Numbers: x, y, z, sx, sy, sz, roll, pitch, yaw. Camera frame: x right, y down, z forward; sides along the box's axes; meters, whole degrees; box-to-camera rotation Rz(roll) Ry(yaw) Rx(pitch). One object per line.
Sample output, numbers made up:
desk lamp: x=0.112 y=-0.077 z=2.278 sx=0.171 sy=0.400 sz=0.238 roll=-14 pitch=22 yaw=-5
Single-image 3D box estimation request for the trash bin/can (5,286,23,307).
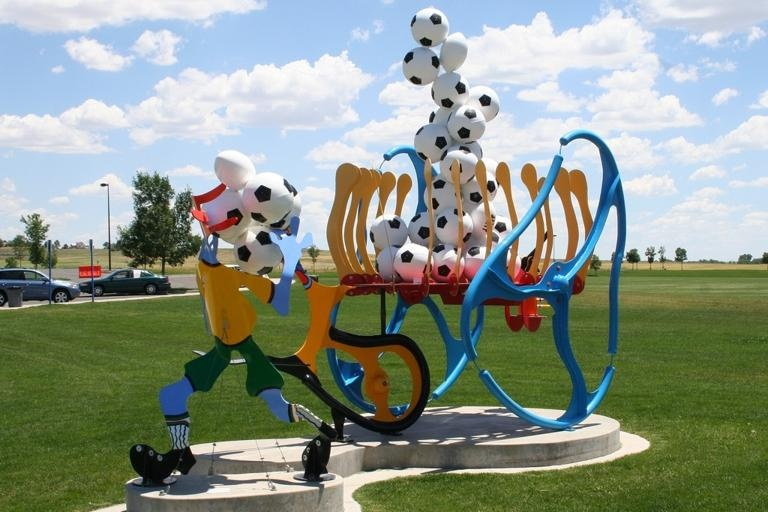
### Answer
trash bin/can: x=-18.190 y=2.034 z=34.951 sx=0.869 sy=1.172 sz=0.903 roll=1 pitch=-5 yaw=-12
